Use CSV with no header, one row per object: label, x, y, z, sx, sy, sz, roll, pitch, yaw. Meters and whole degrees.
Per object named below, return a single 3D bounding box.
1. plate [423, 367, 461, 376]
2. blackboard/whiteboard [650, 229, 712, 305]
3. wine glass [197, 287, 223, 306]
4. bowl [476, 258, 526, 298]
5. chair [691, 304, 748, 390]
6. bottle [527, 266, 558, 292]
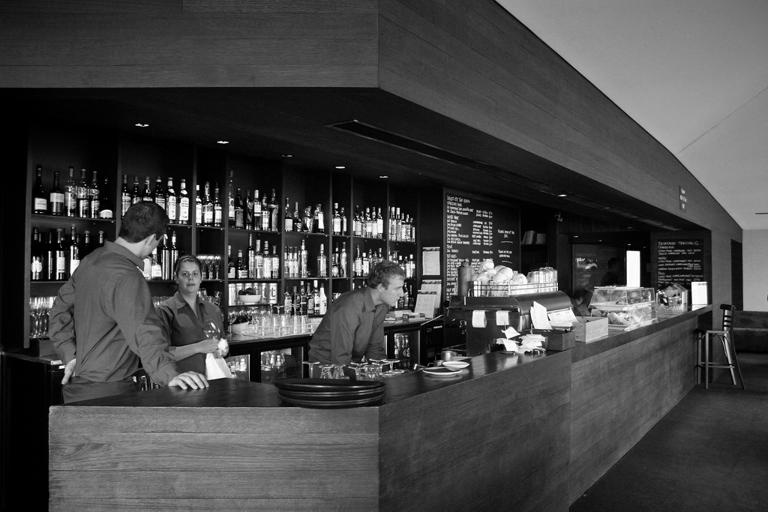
plate,0.371,0.741,3.850,0.263,0.028,0.188,0,-1,14
blackboard/whiteboard,5.169,0.163,10.438,0.955,1.211,0.277,0,-1,23
wine glass,-1.769,0.406,6.032,0.268,0.260,0.268,1,-7,-6
bowl,0.985,0.191,5.100,0.446,0.293,0.383,0,-1,12
chair,5.171,1.392,9.298,0.568,1.190,0.559,-1,-5,18
bottle,1.457,0.222,5.514,0.251,0.432,0.260,0,-1,0
